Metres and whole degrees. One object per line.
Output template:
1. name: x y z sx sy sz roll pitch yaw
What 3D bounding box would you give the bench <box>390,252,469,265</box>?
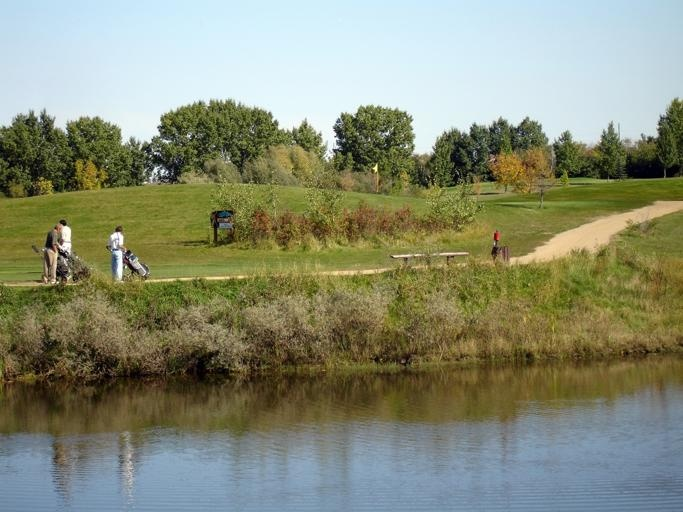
1. bench: 3.807 0.109 51.599 3.719 0.453 2.409 -3 1 -40

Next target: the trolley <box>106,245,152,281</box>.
1. trolley: -8.867 0.494 49.576 0.631 1.446 0.842 -45 12 -20
